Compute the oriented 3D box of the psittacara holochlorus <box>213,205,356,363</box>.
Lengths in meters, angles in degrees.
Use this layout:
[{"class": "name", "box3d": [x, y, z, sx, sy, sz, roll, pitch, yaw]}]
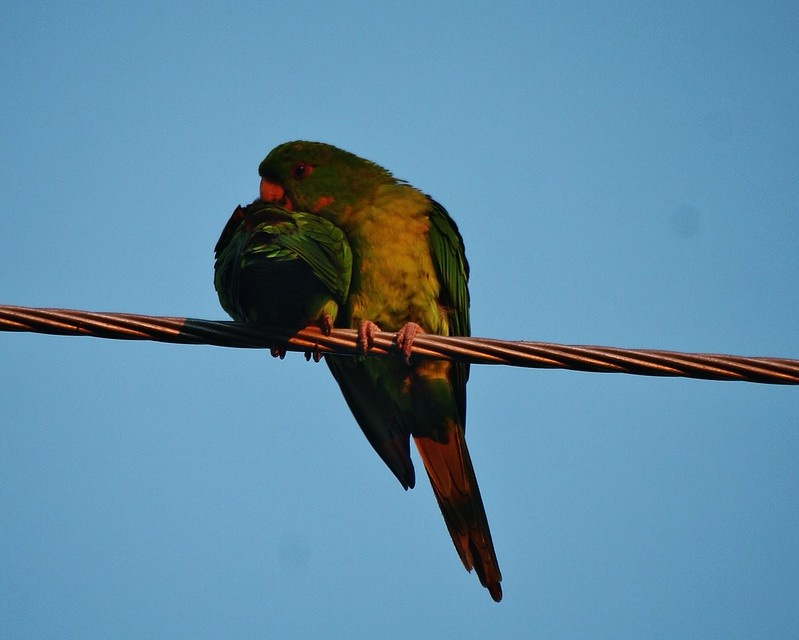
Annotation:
[{"class": "psittacara holochlorus", "box3d": [-0.509, -0.288, 8.827, 0.490, 1.138, 0.871, -9, -90, 16]}]
